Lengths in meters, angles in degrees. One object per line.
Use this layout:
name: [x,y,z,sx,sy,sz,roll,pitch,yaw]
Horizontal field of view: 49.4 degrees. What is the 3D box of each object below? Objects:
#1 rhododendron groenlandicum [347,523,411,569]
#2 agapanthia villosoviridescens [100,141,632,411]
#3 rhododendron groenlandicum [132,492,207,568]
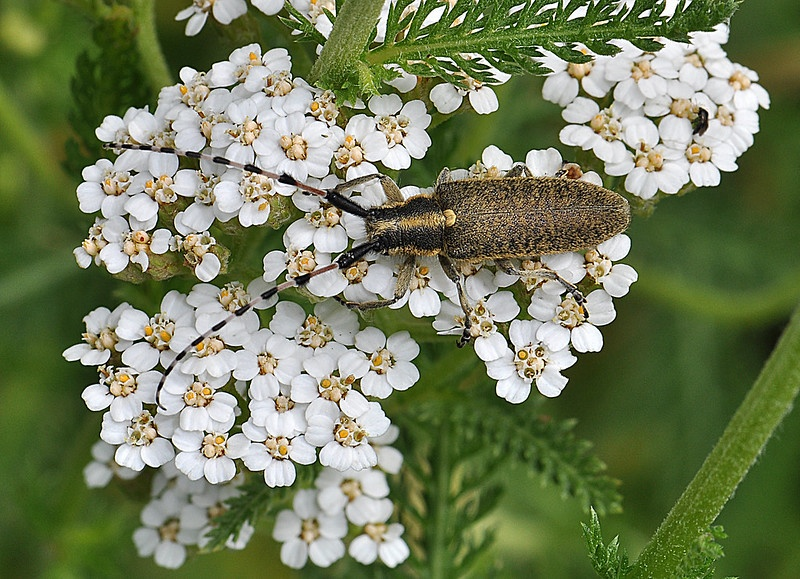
rhododendron groenlandicum: [-0.156,1.963,6.684,0.324,0.384,0.425,11,108,39]
agapanthia villosoviridescens: [-0.060,-0.322,5.945,3.113,0.744,1.835,-5,79,3]
rhododendron groenlandicum: [-1.808,1.900,6.864,0.522,0.383,0.584,30,78,4]
